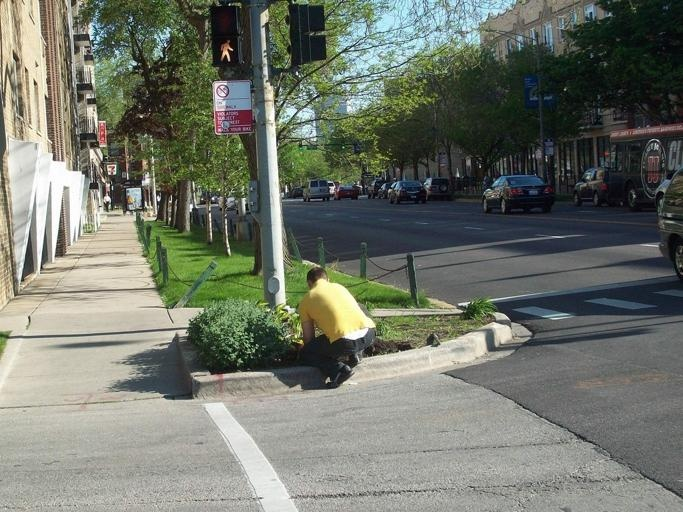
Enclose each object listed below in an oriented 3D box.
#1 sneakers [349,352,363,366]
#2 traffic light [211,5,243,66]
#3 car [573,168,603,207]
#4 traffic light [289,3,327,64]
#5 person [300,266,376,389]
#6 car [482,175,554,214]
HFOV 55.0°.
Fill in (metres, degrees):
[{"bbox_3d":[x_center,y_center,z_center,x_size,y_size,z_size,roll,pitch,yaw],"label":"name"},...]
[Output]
[{"bbox_3d":[0.177,1.185,7.706,0.143,0.157,0.273,-2,-1,2],"label":"sneakers"},{"bbox_3d":[-1.598,-3.029,8.976,0.397,0.839,0.296,-2,7,-10],"label":"traffic light"},{"bbox_3d":[14.133,-3.887,36.813,0.962,2.124,3.479,0,7,7],"label":"car"},{"bbox_3d":[-0.480,-3.059,9.039,0.509,0.832,0.340,-1,7,-3],"label":"traffic light"},{"bbox_3d":[-0.043,0.787,7.917,0.916,1.415,1.006,-13,-6,28],"label":"person"},{"bbox_3d":[9.137,-3.190,33.959,1.883,1.991,3.748,-5,8,-30],"label":"car"}]
